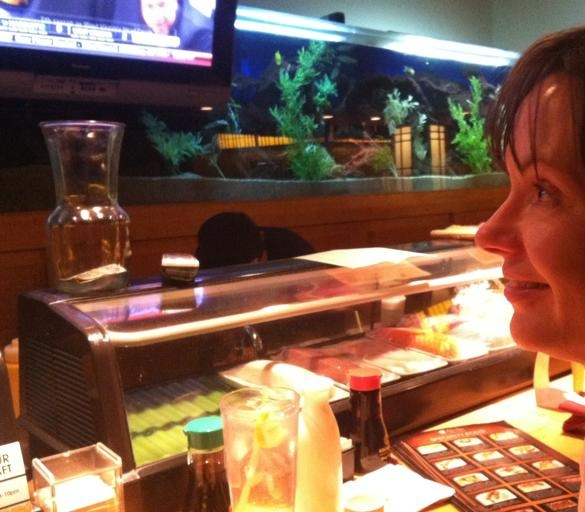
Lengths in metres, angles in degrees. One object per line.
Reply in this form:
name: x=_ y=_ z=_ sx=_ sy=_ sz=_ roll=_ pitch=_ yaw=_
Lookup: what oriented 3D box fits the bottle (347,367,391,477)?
bottle: x=0.147 y=0.328 z=0.993 sx=0.096 sy=0.203 sz=0.056 roll=-14 pitch=14 yaw=-39
